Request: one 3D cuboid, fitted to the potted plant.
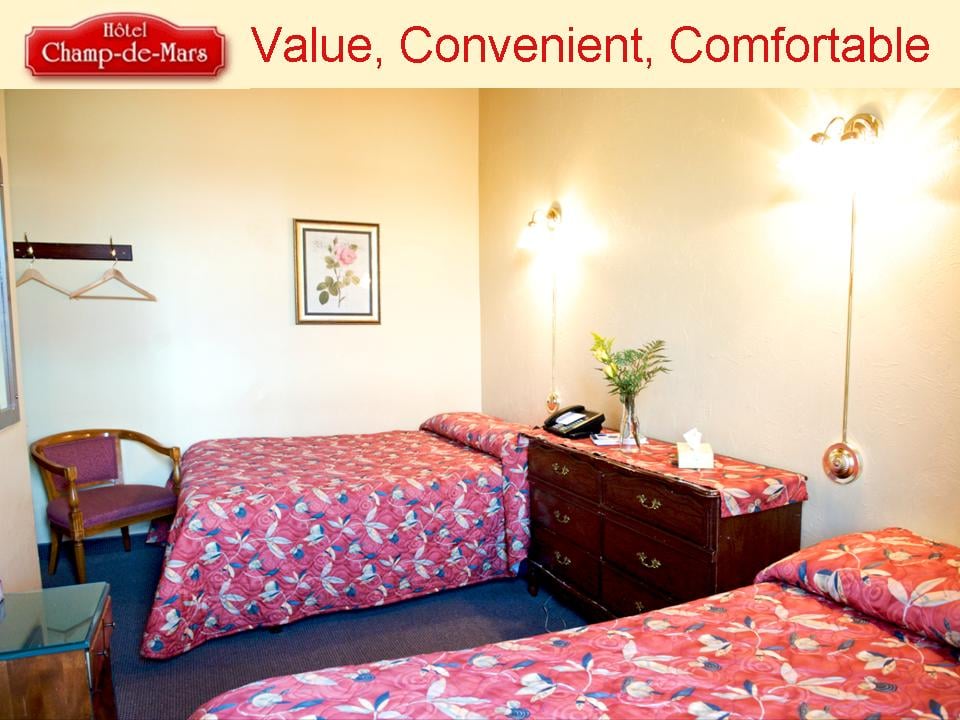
[{"bbox_3d":[0.723,0.145,3.454,0.370,0.484,0.395,-4,4,24],"label":"potted plant"}]

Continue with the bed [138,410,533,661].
[{"bbox_3d":[-0.710,0.817,3.629,1.324,0.490,1.116,1,5,-22],"label":"bed"}]

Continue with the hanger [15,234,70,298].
[{"bbox_3d":[-2.595,-0.549,4.209,0.262,0.385,0.564,-7,10,-32],"label":"hanger"}]

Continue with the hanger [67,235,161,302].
[{"bbox_3d":[-2.316,-0.575,4.452,0.399,0.322,0.045,4,17,2],"label":"hanger"}]

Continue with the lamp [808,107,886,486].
[{"bbox_3d":[1.377,-0.236,2.756,0.291,1.417,0.248,6,12,40],"label":"lamp"}]

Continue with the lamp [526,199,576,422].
[{"bbox_3d":[0.431,-0.359,4.580,0.165,1.307,0.532,-2,9,-5],"label":"lamp"}]

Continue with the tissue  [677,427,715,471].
[{"bbox_3d":[0.928,0.369,3.064,0.157,0.185,0.179,-1,5,0],"label":"tissue "}]

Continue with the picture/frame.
[{"bbox_3d":[-1.048,-0.647,5.058,0.689,0.851,0.053,-1,8,-21],"label":"picture/frame"}]

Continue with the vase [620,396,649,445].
[{"bbox_3d":[0.717,0.290,3.393,0.109,0.248,0.107,-1,15,3],"label":"vase"}]

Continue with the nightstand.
[{"bbox_3d":[0.765,0.864,3.313,0.641,0.900,1.240,0,5,-28],"label":"nightstand"}]
